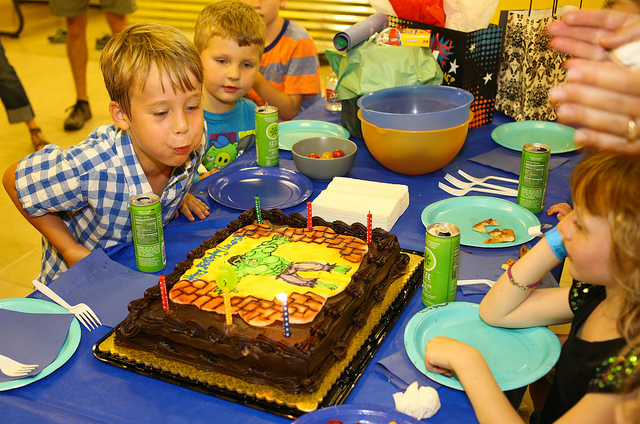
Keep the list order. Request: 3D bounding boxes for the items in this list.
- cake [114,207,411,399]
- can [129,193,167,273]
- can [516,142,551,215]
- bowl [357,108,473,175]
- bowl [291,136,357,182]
[{"bbox_3d":[-0.172,0.255,1.787,0.726,0.254,0.900,20,37,24],"label":"cake"},{"bbox_3d":[-0.711,0.094,1.999,0.134,0.306,0.131,-1,13,0],"label":"can"},{"bbox_3d":[1.012,-0.154,2.285,0.131,0.294,0.127,-2,19,1],"label":"can"},{"bbox_3d":[0.462,-0.381,2.597,0.480,0.304,0.598,-17,30,-38],"label":"bowl"},{"bbox_3d":[0.018,-0.293,2.592,0.285,0.171,0.284,2,34,-1],"label":"bowl"}]
